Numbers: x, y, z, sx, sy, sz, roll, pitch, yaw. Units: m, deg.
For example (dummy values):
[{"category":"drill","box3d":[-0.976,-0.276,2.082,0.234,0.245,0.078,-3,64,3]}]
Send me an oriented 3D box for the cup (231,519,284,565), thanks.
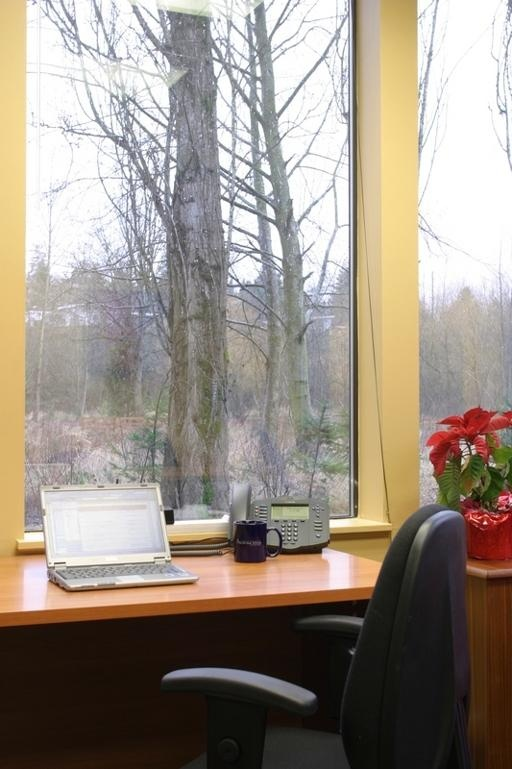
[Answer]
[{"category":"cup","box3d":[0.005,0.434,1.864,0.126,0.129,0.089,3,-5,-14]}]
